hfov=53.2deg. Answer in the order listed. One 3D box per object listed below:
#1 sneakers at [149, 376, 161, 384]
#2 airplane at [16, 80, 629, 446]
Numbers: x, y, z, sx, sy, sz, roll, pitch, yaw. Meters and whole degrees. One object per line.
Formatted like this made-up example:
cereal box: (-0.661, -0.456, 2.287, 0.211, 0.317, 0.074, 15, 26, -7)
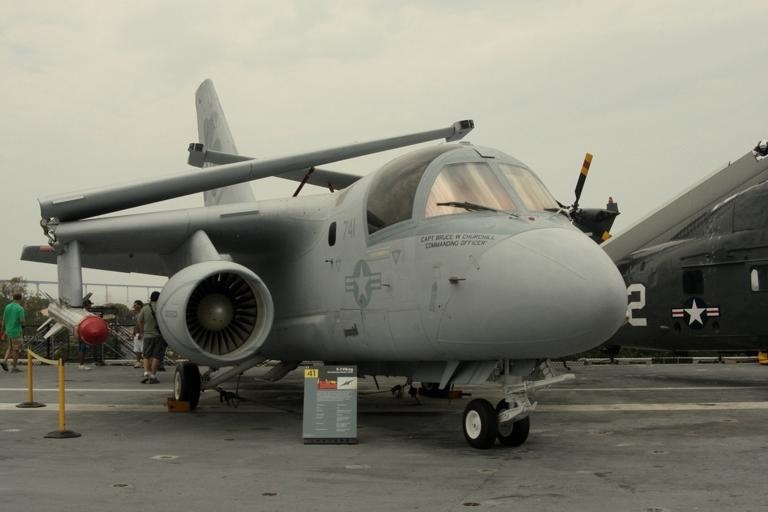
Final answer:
sneakers: (-5.617, 3.043, 18.777, 0.136, 0.139, 0.350, 9, -5, 9)
airplane: (-0.862, 0.267, 13.150, 6.736, 4.064, 8.671, 2, -3, -40)
